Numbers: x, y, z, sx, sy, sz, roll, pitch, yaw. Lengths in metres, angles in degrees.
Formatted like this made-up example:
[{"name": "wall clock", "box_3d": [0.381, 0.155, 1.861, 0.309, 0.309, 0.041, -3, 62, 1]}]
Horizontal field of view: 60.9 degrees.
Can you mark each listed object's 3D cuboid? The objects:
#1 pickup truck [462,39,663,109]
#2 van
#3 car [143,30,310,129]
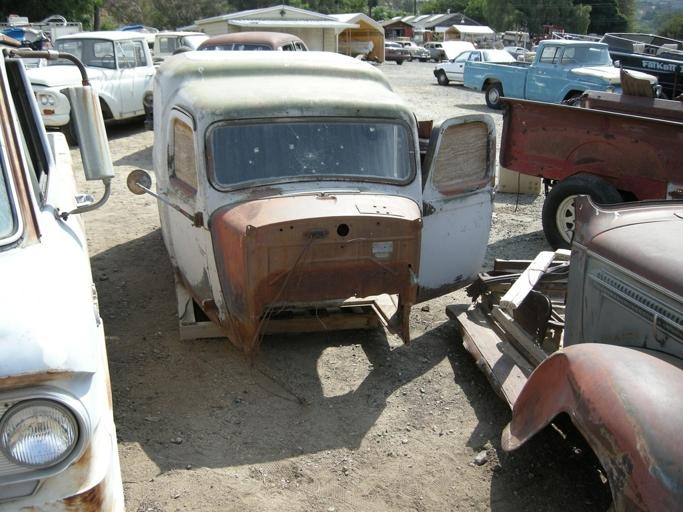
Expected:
[{"name": "pickup truck", "box_3d": [5.613, -4.837, 16.588, 4.224, 1.704, 2.064, 15, 7, 31]}, {"name": "van", "box_3d": [-0.298, -0.872, 6.001, 2.810, 2.240, 4.247, -6, 22, -19]}, {"name": "car", "box_3d": [-1.907, -3.452, 12.071, 2.262, 1.691, 3.886, 2, 32, -1]}]
